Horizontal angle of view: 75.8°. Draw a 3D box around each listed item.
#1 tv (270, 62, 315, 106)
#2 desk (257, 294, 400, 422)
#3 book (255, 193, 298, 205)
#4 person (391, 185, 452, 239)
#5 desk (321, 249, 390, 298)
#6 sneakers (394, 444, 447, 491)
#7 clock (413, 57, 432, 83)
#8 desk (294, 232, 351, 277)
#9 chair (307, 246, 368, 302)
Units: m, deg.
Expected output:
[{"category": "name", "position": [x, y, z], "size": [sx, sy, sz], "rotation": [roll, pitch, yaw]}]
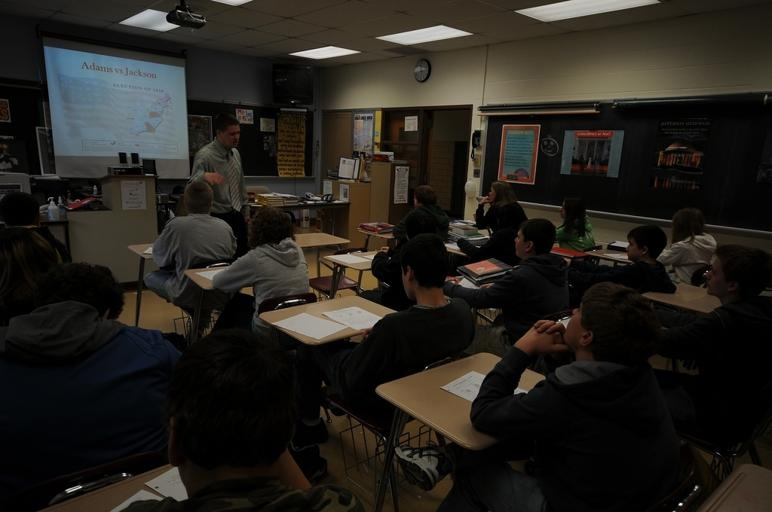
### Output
[{"category": "tv", "position": [-1.664, -3.035, 8.767], "size": [0.801, 0.719, 0.422], "rotation": [-3, 15, -27]}, {"category": "desk", "position": [-0.308, 0.571, 2.778], "size": [0.825, 0.191, 0.567], "rotation": [-10, 19, -38]}, {"category": "book", "position": [-1.634, -0.842, 7.451], "size": [0.637, 0.112, 0.744], "rotation": [-2, 15, -11]}, {"category": "person", "position": [0.407, -0.404, 5.409], "size": [0.721, 0.618, 0.496], "rotation": [1, -1, -43]}, {"category": "desk", "position": [-0.304, 0.260, 4.793], "size": [0.597, 0.442, 0.494], "rotation": [-7, 14, -33]}, {"category": "sneakers", "position": [0.166, 1.018, 2.513], "size": [0.256, 0.125, 0.194], "rotation": [26, 21, 38]}, {"category": "clock", "position": [0.590, -2.956, 7.962], "size": [0.083, 0.378, 0.376], "rotation": [-10, 19, -36]}, {"category": "desk", "position": [-0.732, -0.004, 5.635], "size": [0.552, 0.498, 0.477], "rotation": [-3, 15, -19]}, {"category": "chair", "position": [-0.492, 0.207, 5.193], "size": [0.398, 0.586, 0.433], "rotation": [-11, 31, -34]}]
